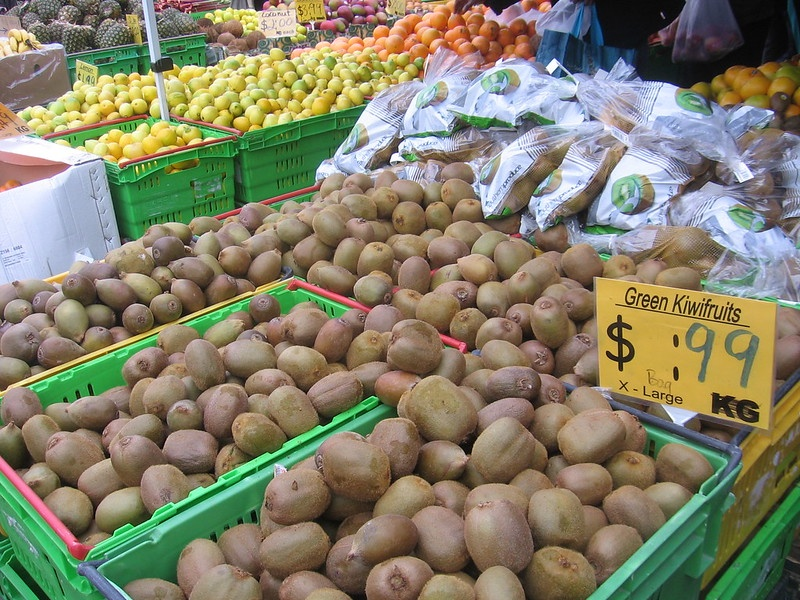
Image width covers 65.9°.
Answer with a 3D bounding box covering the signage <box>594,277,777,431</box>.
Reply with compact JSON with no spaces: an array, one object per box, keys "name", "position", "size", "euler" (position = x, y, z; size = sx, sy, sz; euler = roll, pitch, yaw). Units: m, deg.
[{"name":"signage","position":[1.094,0.231,2.404],"size":[0.565,0.441,0.022],"euler":[8,20,30]}]
